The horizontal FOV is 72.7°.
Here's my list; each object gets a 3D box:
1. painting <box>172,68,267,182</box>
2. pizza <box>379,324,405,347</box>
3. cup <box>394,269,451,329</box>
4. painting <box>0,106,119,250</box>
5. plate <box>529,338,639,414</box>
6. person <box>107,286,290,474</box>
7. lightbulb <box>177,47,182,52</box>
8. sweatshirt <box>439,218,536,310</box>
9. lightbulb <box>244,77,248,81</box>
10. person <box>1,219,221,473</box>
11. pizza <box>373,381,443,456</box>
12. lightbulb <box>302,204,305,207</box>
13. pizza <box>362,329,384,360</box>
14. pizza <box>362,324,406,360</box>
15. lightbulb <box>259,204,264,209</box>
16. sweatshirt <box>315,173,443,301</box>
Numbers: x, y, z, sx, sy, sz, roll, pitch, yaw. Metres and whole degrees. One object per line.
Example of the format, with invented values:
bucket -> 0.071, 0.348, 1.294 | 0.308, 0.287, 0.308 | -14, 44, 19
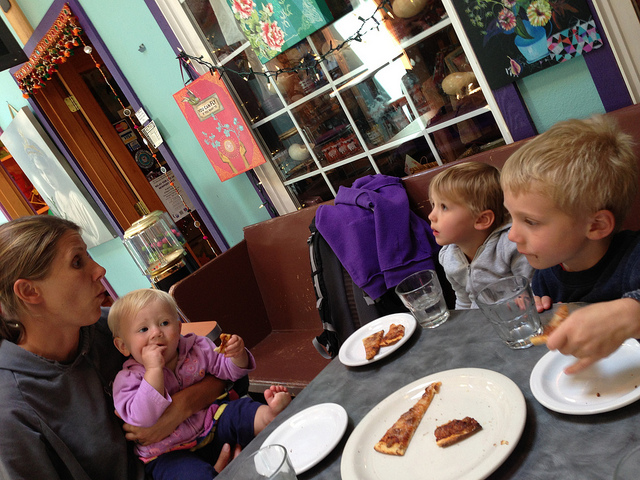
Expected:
painting -> -0.736, -0.893, 3.292 | 0.711, 1.013, 0.099 | -15, 18, 44
pizza -> 0.218, 0.285, 1.303 | 0.063, 0.014, 0.058 | -29, 22, -25
cup -> 0.330, 0.190, 1.338 | 0.131, 0.141, 0.124 | -28, 9, 5
painting -> -2.590, -0.727, 4.450 | 0.123, 1.687, 1.426 | -34, -3, -39
plate -> 0.551, 0.286, 0.890 | 0.222, 0.036, 0.184 | -20, 15, 25
person -> -0.498, 0.484, 1.777 | 0.819, 0.637, 0.514 | 10, 28, 44
lightbulb -> -1.039, -1.412, 3.226 | 0.028, 0.036, 0.015 | -16, 17, 33
sweatshirt -> 0.605, 0.072, 1.564 | 0.143, 0.330, 0.246 | -35, -4, -33
lightbulb -> -0.528, -1.149, 3.103 | 0.028, 0.017, 0.006 | 25, 34, 32
person -> -0.706, 0.309, 1.796 | 0.810, 0.962, 0.683 | -3, 11, -11
pizza -> 0.196, 0.416, 0.994 | 0.066, 0.025, 0.224 | 3, 36, 41
lightbulb -> -0.123, -0.256, 3.275 | 0.008, 0.013, 0.028 | -33, 15, -30
pizza -> 0.154, 0.308, 1.313 | 0.063, 0.120, 0.017 | -5, 45, -10
pizza -> 0.192, 0.301, 1.306 | 0.099, 0.017, 0.089 | -27, 19, 1
lightbulb -> -0.463, -0.263, 3.452 | 0.013, 0.025, 0.062 | -36, 17, -37
sweatshirt -> 0.291, -0.004, 2.144 | 0.505, 0.652, 0.231 | -38, -23, 4
